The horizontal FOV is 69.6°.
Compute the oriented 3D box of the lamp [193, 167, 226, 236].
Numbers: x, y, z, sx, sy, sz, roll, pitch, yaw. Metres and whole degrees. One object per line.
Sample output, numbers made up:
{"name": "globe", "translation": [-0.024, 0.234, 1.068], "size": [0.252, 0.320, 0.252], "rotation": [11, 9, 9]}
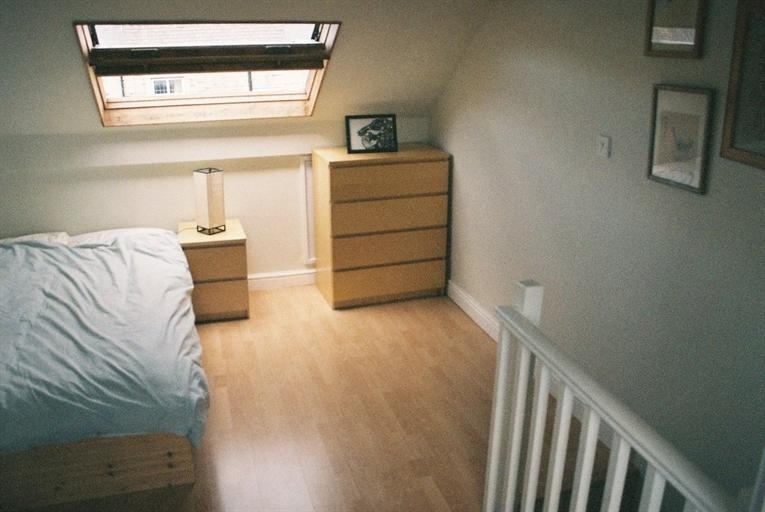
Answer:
{"name": "lamp", "translation": [-1.261, -0.403, 4.017], "size": [0.221, 0.467, 0.174], "rotation": [-8, 19, -18]}

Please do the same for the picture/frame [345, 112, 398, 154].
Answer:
{"name": "picture/frame", "translation": [-0.096, -0.953, 4.260], "size": [0.357, 0.242, 0.015], "rotation": [-3, 11, -12]}

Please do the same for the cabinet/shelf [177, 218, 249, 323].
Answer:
{"name": "cabinet/shelf", "translation": [-1.220, 0.112, 3.945], "size": [0.561, 0.763, 0.508], "rotation": [-7, 30, -14]}

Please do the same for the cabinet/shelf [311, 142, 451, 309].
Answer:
{"name": "cabinet/shelf", "translation": [-0.009, -0.265, 4.212], "size": [1.137, 1.327, 0.701], "rotation": [-3, 21, -15]}
